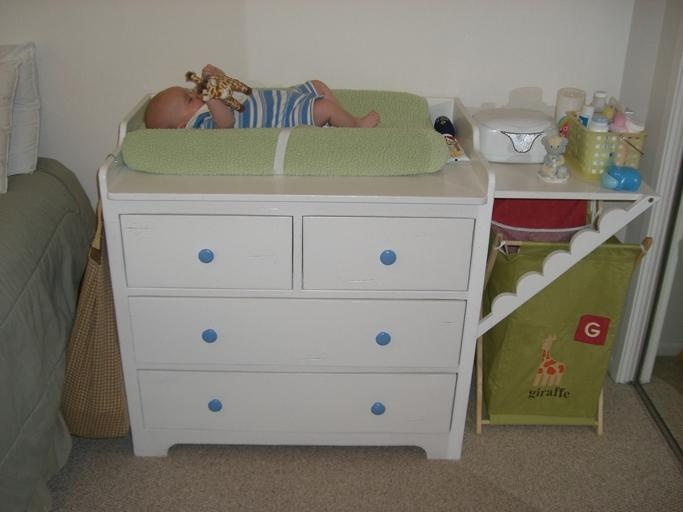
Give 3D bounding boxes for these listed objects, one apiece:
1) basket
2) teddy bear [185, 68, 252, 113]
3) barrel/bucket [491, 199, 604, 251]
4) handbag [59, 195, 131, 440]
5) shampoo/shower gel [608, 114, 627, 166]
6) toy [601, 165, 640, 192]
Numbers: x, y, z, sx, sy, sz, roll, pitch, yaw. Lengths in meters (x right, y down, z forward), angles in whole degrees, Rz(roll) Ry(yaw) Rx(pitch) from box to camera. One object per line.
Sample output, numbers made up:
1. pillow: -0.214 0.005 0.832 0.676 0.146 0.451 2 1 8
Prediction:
1. basket: 0.869 -0.349 2.031 0.192 0.254 0.276 4 25 -1
2. teddy bear: -0.411 -0.551 1.951 0.215 0.138 0.215 -12 29 -24
3. barrel/bucket: 0.721 -0.164 2.194 0.328 0.168 0.414 0 23 -4
4. handbag: -0.760 0.285 2.133 0.268 0.684 0.458 -1 21 -3
5. shampoo/shower gel: 0.912 -0.382 1.914 0.069 0.158 0.059 12 27 24
6. toy: 0.896 -0.248 1.870 0.093 0.062 0.078 15 46 14
